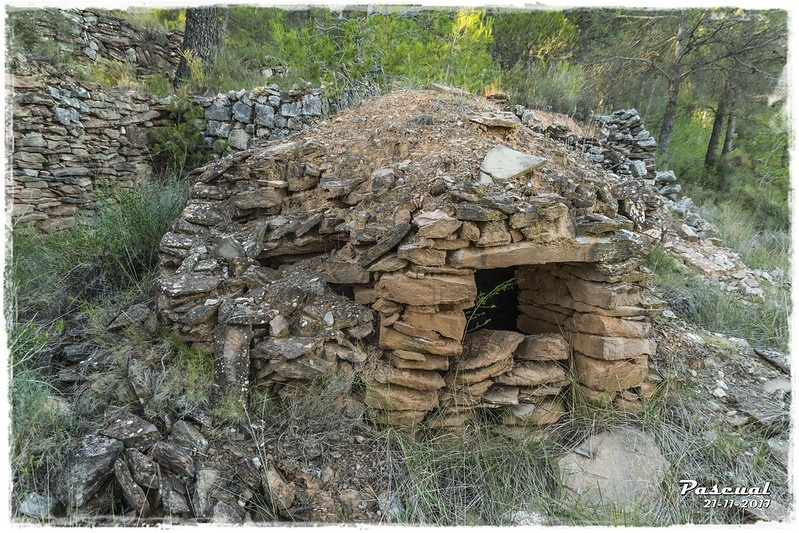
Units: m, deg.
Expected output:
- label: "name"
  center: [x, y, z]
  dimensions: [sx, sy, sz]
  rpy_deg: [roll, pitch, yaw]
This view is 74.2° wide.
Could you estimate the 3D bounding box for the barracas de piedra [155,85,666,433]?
- label: "barracas de piedra"
  center: [-0.019, 0.042, 7.157]
  dimensions: [4.459, 2.121, 4.189]
  rpy_deg: [8, 32, -5]
